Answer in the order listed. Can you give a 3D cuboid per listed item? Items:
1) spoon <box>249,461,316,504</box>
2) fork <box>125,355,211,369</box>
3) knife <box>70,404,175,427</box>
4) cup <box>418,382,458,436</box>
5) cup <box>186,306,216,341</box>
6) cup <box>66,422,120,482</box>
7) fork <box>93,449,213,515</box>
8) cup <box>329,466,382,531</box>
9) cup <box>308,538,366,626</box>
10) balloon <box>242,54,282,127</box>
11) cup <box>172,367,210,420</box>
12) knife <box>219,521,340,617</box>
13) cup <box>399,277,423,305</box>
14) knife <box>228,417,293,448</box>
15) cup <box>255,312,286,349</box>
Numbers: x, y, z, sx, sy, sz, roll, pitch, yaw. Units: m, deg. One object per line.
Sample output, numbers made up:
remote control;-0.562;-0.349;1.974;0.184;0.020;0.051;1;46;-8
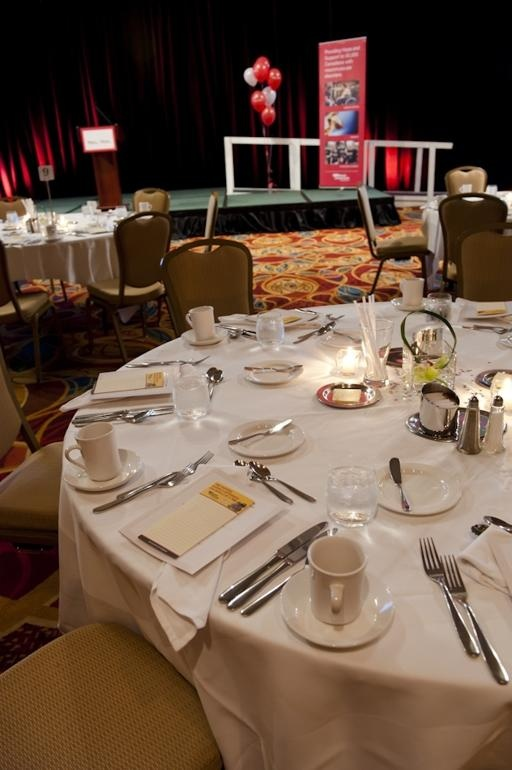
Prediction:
spoon;0.037;0.173;0.915;0.042;0.026;0.185;6;20;-37
fork;-0.254;-0.068;1.500;0.300;0.038;0.034;-1;36;-3
knife;-0.311;0.074;1.201;0.174;0.022;0.037;-3;25;-2
cup;0.384;0.050;1.103;0.080;0.080;0.108;1;34;1
cup;-0.161;-0.199;1.625;0.073;0.115;0.121;-5;31;2
cup;-0.307;0.134;0.936;0.097;0.090;0.061;-20;27;-32
fork;-0.193;0.182;0.923;0.195;0.029;0.022;-27;40;-32
cup;0.160;0.180;0.830;0.100;0.101;0.104;-1;0;0
cup;0.094;0.231;0.604;0.062;0.072;0.102;2;28;8
balloon;0.094;-5.154;8.694;0.511;1.382;0.580;9;40;21
cup;-0.151;0.028;1.238;0.081;0.124;0.124;1;10;6
knife;0.034;0.223;0.715;0.061;0.022;0.241;8;22;34
cup;0.553;-0.331;1.764;0.074;0.099;0.098;5;18;27
knife;0.011;0.104;1.076;0.153;0.023;0.017;-14;0;-29
cup;0.045;-0.179;1.624;0.106;0.116;0.109;-2;12;0
